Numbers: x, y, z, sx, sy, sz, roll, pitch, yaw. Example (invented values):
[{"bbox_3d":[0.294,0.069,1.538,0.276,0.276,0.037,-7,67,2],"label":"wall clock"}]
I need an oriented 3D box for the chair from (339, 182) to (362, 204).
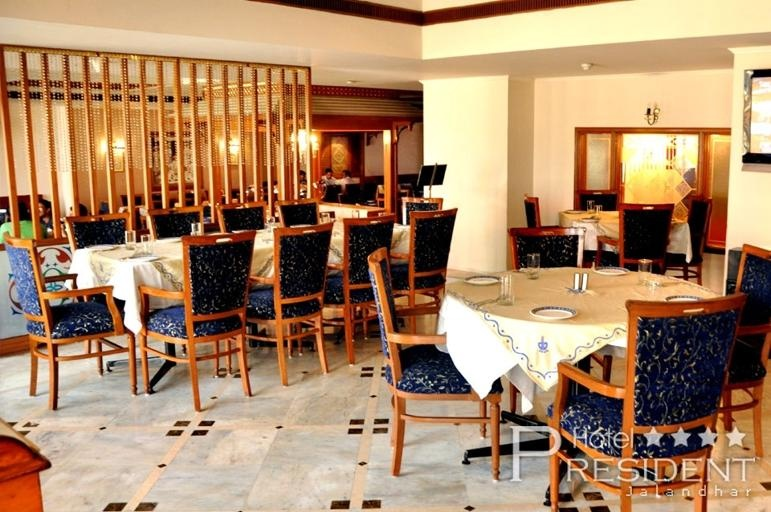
[{"bbox_3d":[-0.996,-1.831,15.692,0.707,0.764,0.700,-7,19,-24],"label":"chair"}]

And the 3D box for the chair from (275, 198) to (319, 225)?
[{"bbox_3d":[-1.146,-0.592,7.095,0.441,0.582,0.446,-3,7,-26],"label":"chair"}]

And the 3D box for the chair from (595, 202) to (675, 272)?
[{"bbox_3d":[3.196,-0.194,6.657,0.726,0.894,0.303,-4,17,-9],"label":"chair"}]

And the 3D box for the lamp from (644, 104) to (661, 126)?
[{"bbox_3d":[4.723,-2.481,9.433,0.253,0.363,0.095,4,17,18],"label":"lamp"}]

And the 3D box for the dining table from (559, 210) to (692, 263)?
[{"bbox_3d":[3.368,-0.369,7.429,1.441,0.420,1.251,0,8,-7],"label":"dining table"}]

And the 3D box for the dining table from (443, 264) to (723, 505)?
[{"bbox_3d":[0.984,0.624,3.335,1.496,0.320,1.358,-8,13,-23],"label":"dining table"}]

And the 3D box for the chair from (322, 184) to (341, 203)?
[{"bbox_3d":[-1.569,-1.857,15.666,0.543,0.455,0.338,-2,15,-5],"label":"chair"}]

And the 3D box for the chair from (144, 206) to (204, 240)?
[{"bbox_3d":[-2.394,-0.371,6.095,0.441,0.621,0.416,-10,24,-37],"label":"chair"}]

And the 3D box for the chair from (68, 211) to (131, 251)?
[{"bbox_3d":[-3.007,-0.247,5.630,0.342,0.497,0.349,-14,33,-43],"label":"chair"}]

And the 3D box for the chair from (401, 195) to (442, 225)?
[{"bbox_3d":[0.495,-0.660,7.488,0.609,0.457,0.544,0,5,-12],"label":"chair"}]

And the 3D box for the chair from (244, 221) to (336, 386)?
[{"bbox_3d":[-0.896,0.383,5.134,0.843,1.455,1.066,-4,15,-9],"label":"chair"}]
